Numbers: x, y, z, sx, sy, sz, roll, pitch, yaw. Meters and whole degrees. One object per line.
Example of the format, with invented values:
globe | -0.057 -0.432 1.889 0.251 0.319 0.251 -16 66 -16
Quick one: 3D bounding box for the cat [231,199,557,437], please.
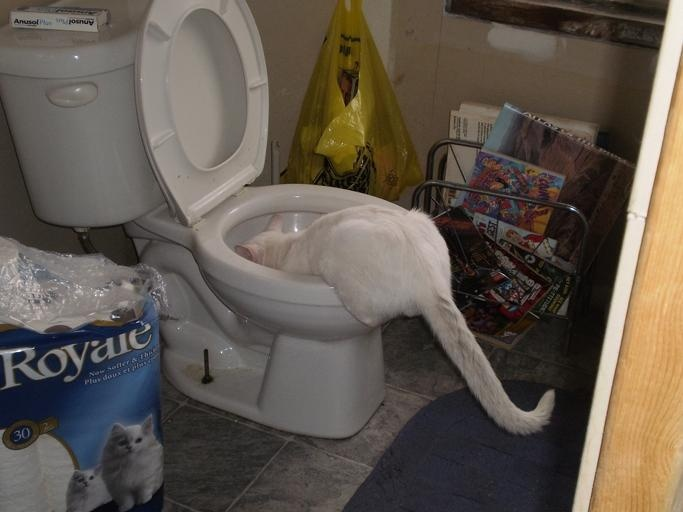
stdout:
cat | 0.096 0.035 1.200 0.270 0.225 0.786 -26 43 -38
